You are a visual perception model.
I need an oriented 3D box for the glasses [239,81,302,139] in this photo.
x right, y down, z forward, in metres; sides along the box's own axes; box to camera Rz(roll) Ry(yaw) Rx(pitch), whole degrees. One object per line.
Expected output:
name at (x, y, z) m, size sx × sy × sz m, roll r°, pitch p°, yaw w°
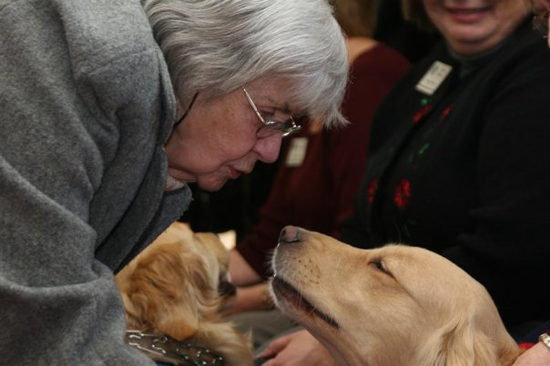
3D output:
glasses at (-0.011, -0.280, 2.282) m, size 0.056 × 0.163 × 0.174 m, roll -32°, pitch 76°, yaw 16°
